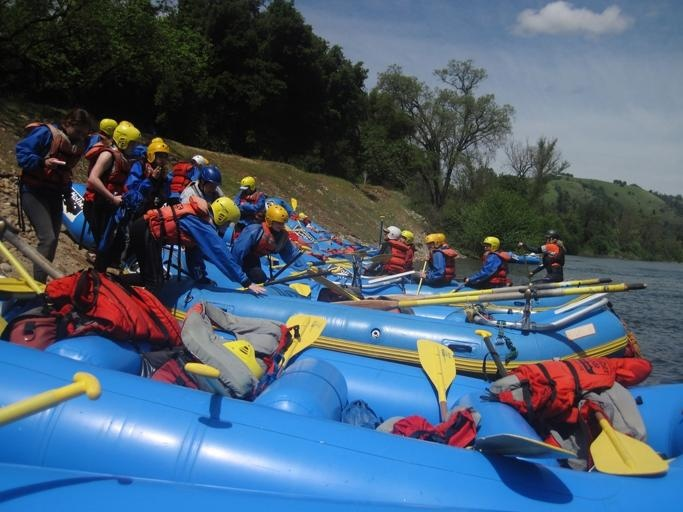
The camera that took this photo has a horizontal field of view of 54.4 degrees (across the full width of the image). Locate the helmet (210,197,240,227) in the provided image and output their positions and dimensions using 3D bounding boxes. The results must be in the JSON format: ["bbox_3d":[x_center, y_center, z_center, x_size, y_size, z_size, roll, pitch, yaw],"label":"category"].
[{"bbox_3d":[-1.652,-0.602,9.169,0.399,0.337,0.331,6,36,-36],"label":"helmet"}]

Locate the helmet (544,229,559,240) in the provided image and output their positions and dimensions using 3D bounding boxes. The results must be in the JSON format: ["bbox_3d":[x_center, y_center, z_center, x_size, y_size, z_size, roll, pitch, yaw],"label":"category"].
[{"bbox_3d":[4.657,-0.460,14.585,0.303,0.271,0.233,-4,14,-32],"label":"helmet"}]

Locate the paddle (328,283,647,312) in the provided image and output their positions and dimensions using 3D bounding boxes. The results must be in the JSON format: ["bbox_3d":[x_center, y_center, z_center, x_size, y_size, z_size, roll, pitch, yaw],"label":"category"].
[{"bbox_3d":[1.956,0.619,10.230,3.288,0.283,0.611,-1,-38,20],"label":"paddle"}]

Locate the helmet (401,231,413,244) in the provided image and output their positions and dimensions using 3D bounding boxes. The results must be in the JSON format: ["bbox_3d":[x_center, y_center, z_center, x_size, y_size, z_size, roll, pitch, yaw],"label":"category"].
[{"bbox_3d":[1.488,-0.453,14.762,0.295,0.233,0.225,-10,30,-32],"label":"helmet"}]

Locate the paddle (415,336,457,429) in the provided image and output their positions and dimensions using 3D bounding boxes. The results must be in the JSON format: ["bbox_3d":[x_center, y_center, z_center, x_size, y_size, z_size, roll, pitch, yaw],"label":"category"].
[{"bbox_3d":[1.180,1.554,7.918,0.474,0.133,1.430,14,34,-9],"label":"paddle"}]

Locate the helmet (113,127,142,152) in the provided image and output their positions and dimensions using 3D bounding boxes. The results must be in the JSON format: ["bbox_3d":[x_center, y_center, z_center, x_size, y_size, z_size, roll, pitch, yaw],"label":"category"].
[{"bbox_3d":[-2.963,-1.620,9.143,0.349,0.328,0.289,-6,31,-34],"label":"helmet"}]

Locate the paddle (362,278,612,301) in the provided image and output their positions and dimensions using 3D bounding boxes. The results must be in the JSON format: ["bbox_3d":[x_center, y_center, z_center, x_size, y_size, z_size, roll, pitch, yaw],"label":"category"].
[{"bbox_3d":[2.148,0.525,10.557,2.810,0.456,0.306,-1,37,6],"label":"paddle"}]

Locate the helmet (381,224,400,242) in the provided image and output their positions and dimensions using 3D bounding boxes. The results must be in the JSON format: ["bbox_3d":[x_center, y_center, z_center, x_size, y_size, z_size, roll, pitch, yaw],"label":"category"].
[{"bbox_3d":[1.040,-0.479,14.118,0.385,0.329,0.310,14,13,22],"label":"helmet"}]

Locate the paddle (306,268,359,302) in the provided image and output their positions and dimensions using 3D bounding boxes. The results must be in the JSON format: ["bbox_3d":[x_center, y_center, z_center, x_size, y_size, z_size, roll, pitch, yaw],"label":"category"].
[{"bbox_3d":[-0.158,0.517,10.829,0.706,0.228,0.471,44,-7,-19],"label":"paddle"}]

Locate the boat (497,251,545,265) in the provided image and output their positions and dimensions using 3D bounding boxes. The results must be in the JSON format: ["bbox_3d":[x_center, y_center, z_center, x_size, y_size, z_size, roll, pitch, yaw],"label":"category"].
[{"bbox_3d":[3.956,0.036,14.592,0.549,0.166,0.382,22,3,-20],"label":"boat"}]

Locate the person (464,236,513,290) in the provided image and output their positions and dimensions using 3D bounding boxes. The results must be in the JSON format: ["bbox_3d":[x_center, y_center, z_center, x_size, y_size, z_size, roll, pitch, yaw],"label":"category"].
[{"bbox_3d":[2.811,0.173,12.894,0.921,1.129,0.822,2,-3,7],"label":"person"}]

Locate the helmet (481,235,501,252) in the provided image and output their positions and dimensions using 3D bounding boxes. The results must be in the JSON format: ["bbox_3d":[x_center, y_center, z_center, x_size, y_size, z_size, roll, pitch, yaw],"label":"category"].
[{"bbox_3d":[2.959,-0.264,13.050,0.410,0.336,0.323,0,6,18],"label":"helmet"}]

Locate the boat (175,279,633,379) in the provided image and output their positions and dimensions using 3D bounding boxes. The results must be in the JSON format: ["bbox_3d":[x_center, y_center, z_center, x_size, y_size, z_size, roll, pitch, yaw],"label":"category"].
[{"bbox_3d":[1.196,0.983,9.283,4.733,0.855,2.301,9,-6,23],"label":"boat"}]

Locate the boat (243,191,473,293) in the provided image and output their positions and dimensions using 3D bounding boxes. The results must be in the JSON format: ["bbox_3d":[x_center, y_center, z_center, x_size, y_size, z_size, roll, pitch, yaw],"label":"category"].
[{"bbox_3d":[-0.111,0.086,15.474,4.237,0.977,2.090,15,9,37],"label":"boat"}]

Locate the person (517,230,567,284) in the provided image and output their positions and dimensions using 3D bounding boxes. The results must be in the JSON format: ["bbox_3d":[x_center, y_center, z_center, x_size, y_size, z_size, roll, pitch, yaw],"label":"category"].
[{"bbox_3d":[4.274,0.295,14.170,0.993,1.651,0.698,2,0,21],"label":"person"}]

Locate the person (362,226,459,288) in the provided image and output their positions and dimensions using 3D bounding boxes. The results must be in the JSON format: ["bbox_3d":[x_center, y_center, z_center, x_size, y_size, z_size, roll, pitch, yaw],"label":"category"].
[{"bbox_3d":[1.446,0.004,13.321,1.583,0.893,1.033,6,3,16],"label":"person"}]

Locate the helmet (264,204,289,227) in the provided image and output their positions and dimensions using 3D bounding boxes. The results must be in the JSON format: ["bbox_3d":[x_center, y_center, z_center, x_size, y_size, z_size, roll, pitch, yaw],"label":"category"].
[{"bbox_3d":[-1.022,-0.631,10.286,0.339,0.269,0.276,27,27,21],"label":"helmet"}]
